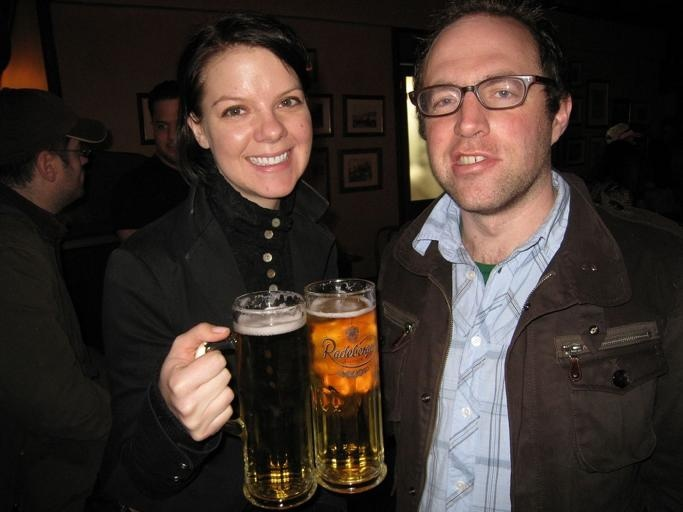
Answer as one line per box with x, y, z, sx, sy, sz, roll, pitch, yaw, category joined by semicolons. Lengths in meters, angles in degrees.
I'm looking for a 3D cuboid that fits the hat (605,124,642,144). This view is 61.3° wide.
2.001;-0.886;4.109;0.259;0.090;0.146;-9;-2;-43;hat
